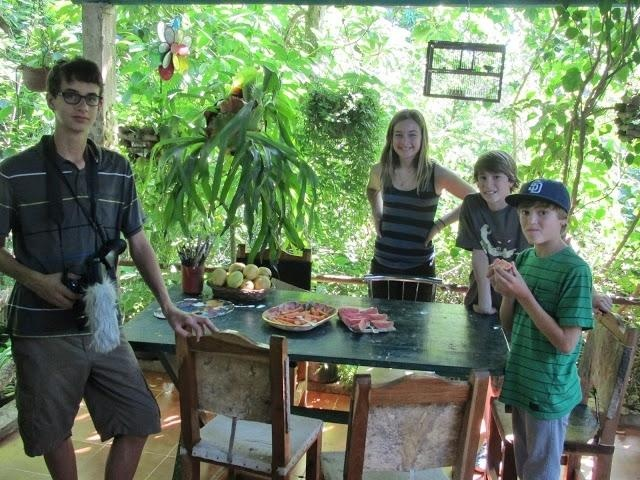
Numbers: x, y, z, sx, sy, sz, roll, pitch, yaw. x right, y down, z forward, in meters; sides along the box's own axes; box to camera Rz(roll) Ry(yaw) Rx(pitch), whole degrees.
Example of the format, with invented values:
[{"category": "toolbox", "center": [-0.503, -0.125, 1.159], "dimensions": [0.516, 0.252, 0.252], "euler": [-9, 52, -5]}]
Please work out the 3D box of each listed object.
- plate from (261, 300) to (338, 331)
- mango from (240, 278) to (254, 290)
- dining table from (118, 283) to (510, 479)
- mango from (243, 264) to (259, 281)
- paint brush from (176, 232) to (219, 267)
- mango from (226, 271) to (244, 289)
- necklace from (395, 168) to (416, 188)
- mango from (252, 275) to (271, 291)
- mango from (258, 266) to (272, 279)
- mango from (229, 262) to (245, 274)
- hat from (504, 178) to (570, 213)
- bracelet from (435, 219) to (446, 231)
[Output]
[{"category": "plate", "center": [-0.138, 0.377, 2.598], "dimensions": [0.208, 0.046, 0.266], "euler": [4, 12, 2]}, {"category": "mango", "center": [-0.400, 0.248, 2.776], "dimensions": [0.047, 0.059, 0.044], "euler": [31, 0, -31]}, {"category": "dining table", "center": [-0.018, 0.623, 2.245], "dimensions": [1.030, 0.509, 0.535], "euler": [5, 33, 7]}, {"category": "mango", "center": [-0.385, 0.183, 2.870], "dimensions": [0.078, 0.078, 0.094], "euler": [5, 9, 7]}, {"category": "paint brush", "center": [-0.701, 0.067, 2.949], "dimensions": [0.199, 0.190, 0.156], "euler": [1, 5, 18]}, {"category": "mango", "center": [-0.461, 0.223, 2.807], "dimensions": [0.070, 0.094, 0.070], "euler": [46, 15, -41]}, {"category": "necklace", "center": [0.537, -0.380, 3.184], "dimensions": [0.124, 0.117, 0.031], "euler": [13, 1, 15]}, {"category": "mango", "center": [-0.322, 0.235, 2.850], "dimensions": [0.074, 0.075, 0.088], "euler": [28, 24, 28]}, {"category": "mango", "center": [-0.313, 0.185, 2.922], "dimensions": [0.064, 0.049, 0.053], "euler": [15, -22, 16]}, {"category": "mango", "center": [-0.470, 0.156, 2.864], "dimensions": [0.074, 0.055, 0.057], "euler": [-9, -14, -5]}, {"category": "hat", "center": [0.891, -0.172, 2.091], "dimensions": [0.176, 0.119, 0.239], "euler": [7, -9, 23]}, {"category": "bracelet", "center": [0.771, -0.096, 3.197], "dimensions": [0.050, 0.065, 0.065], "euler": [6, -20, -45]}]
